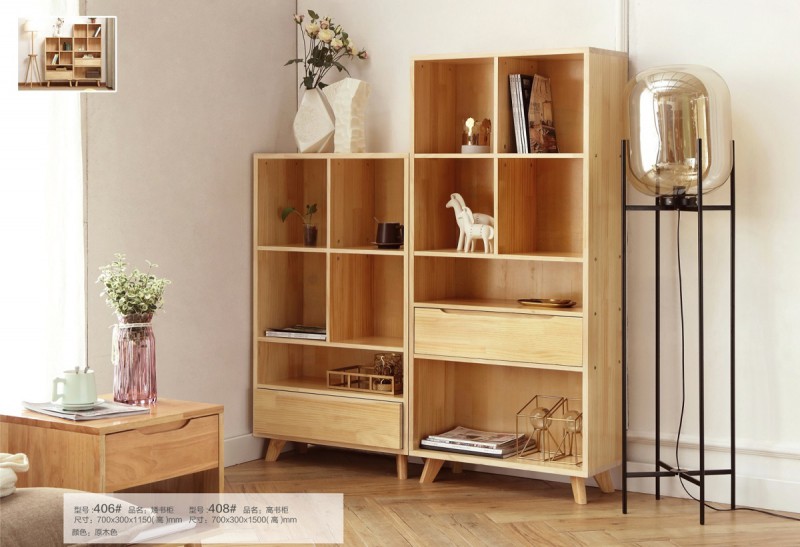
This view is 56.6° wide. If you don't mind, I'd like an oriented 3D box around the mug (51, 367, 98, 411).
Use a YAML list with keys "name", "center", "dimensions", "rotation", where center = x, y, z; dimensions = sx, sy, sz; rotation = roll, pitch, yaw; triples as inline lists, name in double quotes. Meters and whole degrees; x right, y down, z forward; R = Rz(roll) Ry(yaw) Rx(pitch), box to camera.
- name: "mug"
  center: [-1.254, 0.457, 2.916]
  dimensions: [0.130, 0.132, 0.192]
  rotation: [3, 4, 35]

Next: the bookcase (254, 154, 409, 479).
- name: "bookcase"
  center: [-0.345, 0.208, 4.284]
  dimensions: [0.988, 1.783, 0.491]
  rotation: [2, 4, 23]

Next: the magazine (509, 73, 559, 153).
- name: "magazine"
  center: [0.692, -0.811, 3.815]
  dimensions: [0.137, 0.409, 0.328]
  rotation: [3, 4, 41]

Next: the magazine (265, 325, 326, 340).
- name: "magazine"
  center: [-0.553, 0.348, 4.313]
  dimensions: [0.432, 0.055, 0.231]
  rotation: [2, 4, 27]
